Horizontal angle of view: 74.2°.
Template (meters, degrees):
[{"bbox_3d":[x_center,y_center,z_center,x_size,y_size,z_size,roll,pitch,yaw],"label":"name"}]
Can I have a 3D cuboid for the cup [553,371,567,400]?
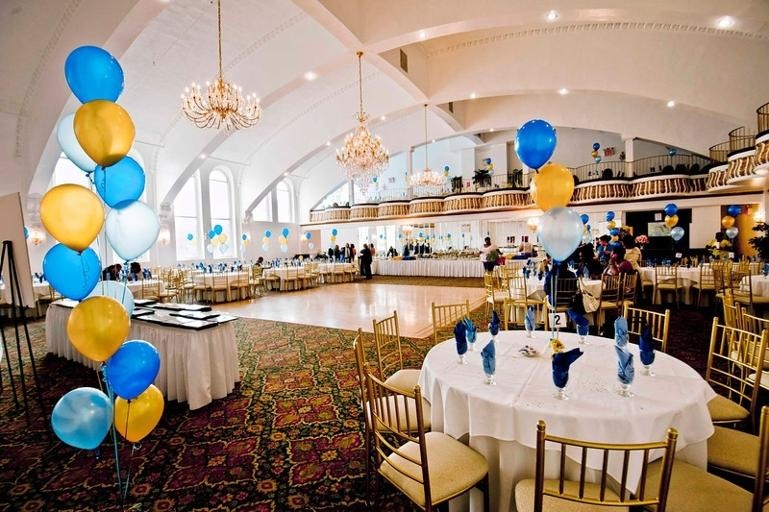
[{"bbox_3d":[2.154,1.551,6.214,0.155,0.354,0.259,0,2,20],"label":"cup"}]

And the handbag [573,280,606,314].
[{"bbox_3d":[3.708,0.734,9.187,0.294,0.854,0.578,-15,-10,31],"label":"handbag"}]

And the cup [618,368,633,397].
[{"bbox_3d":[2.957,1.530,6.220,0.189,0.318,0.165,-1,2,9],"label":"cup"}]
